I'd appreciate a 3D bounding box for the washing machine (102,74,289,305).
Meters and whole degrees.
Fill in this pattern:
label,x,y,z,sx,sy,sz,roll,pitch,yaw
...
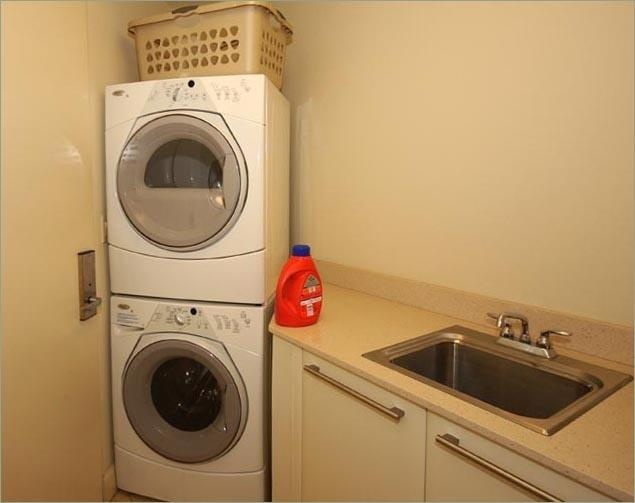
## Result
label,x,y,z,sx,sy,sz,roll,pitch,yaw
washing machine,-0.460,-0.251,2.551,0.927,1.356,0.909,1,3,11
